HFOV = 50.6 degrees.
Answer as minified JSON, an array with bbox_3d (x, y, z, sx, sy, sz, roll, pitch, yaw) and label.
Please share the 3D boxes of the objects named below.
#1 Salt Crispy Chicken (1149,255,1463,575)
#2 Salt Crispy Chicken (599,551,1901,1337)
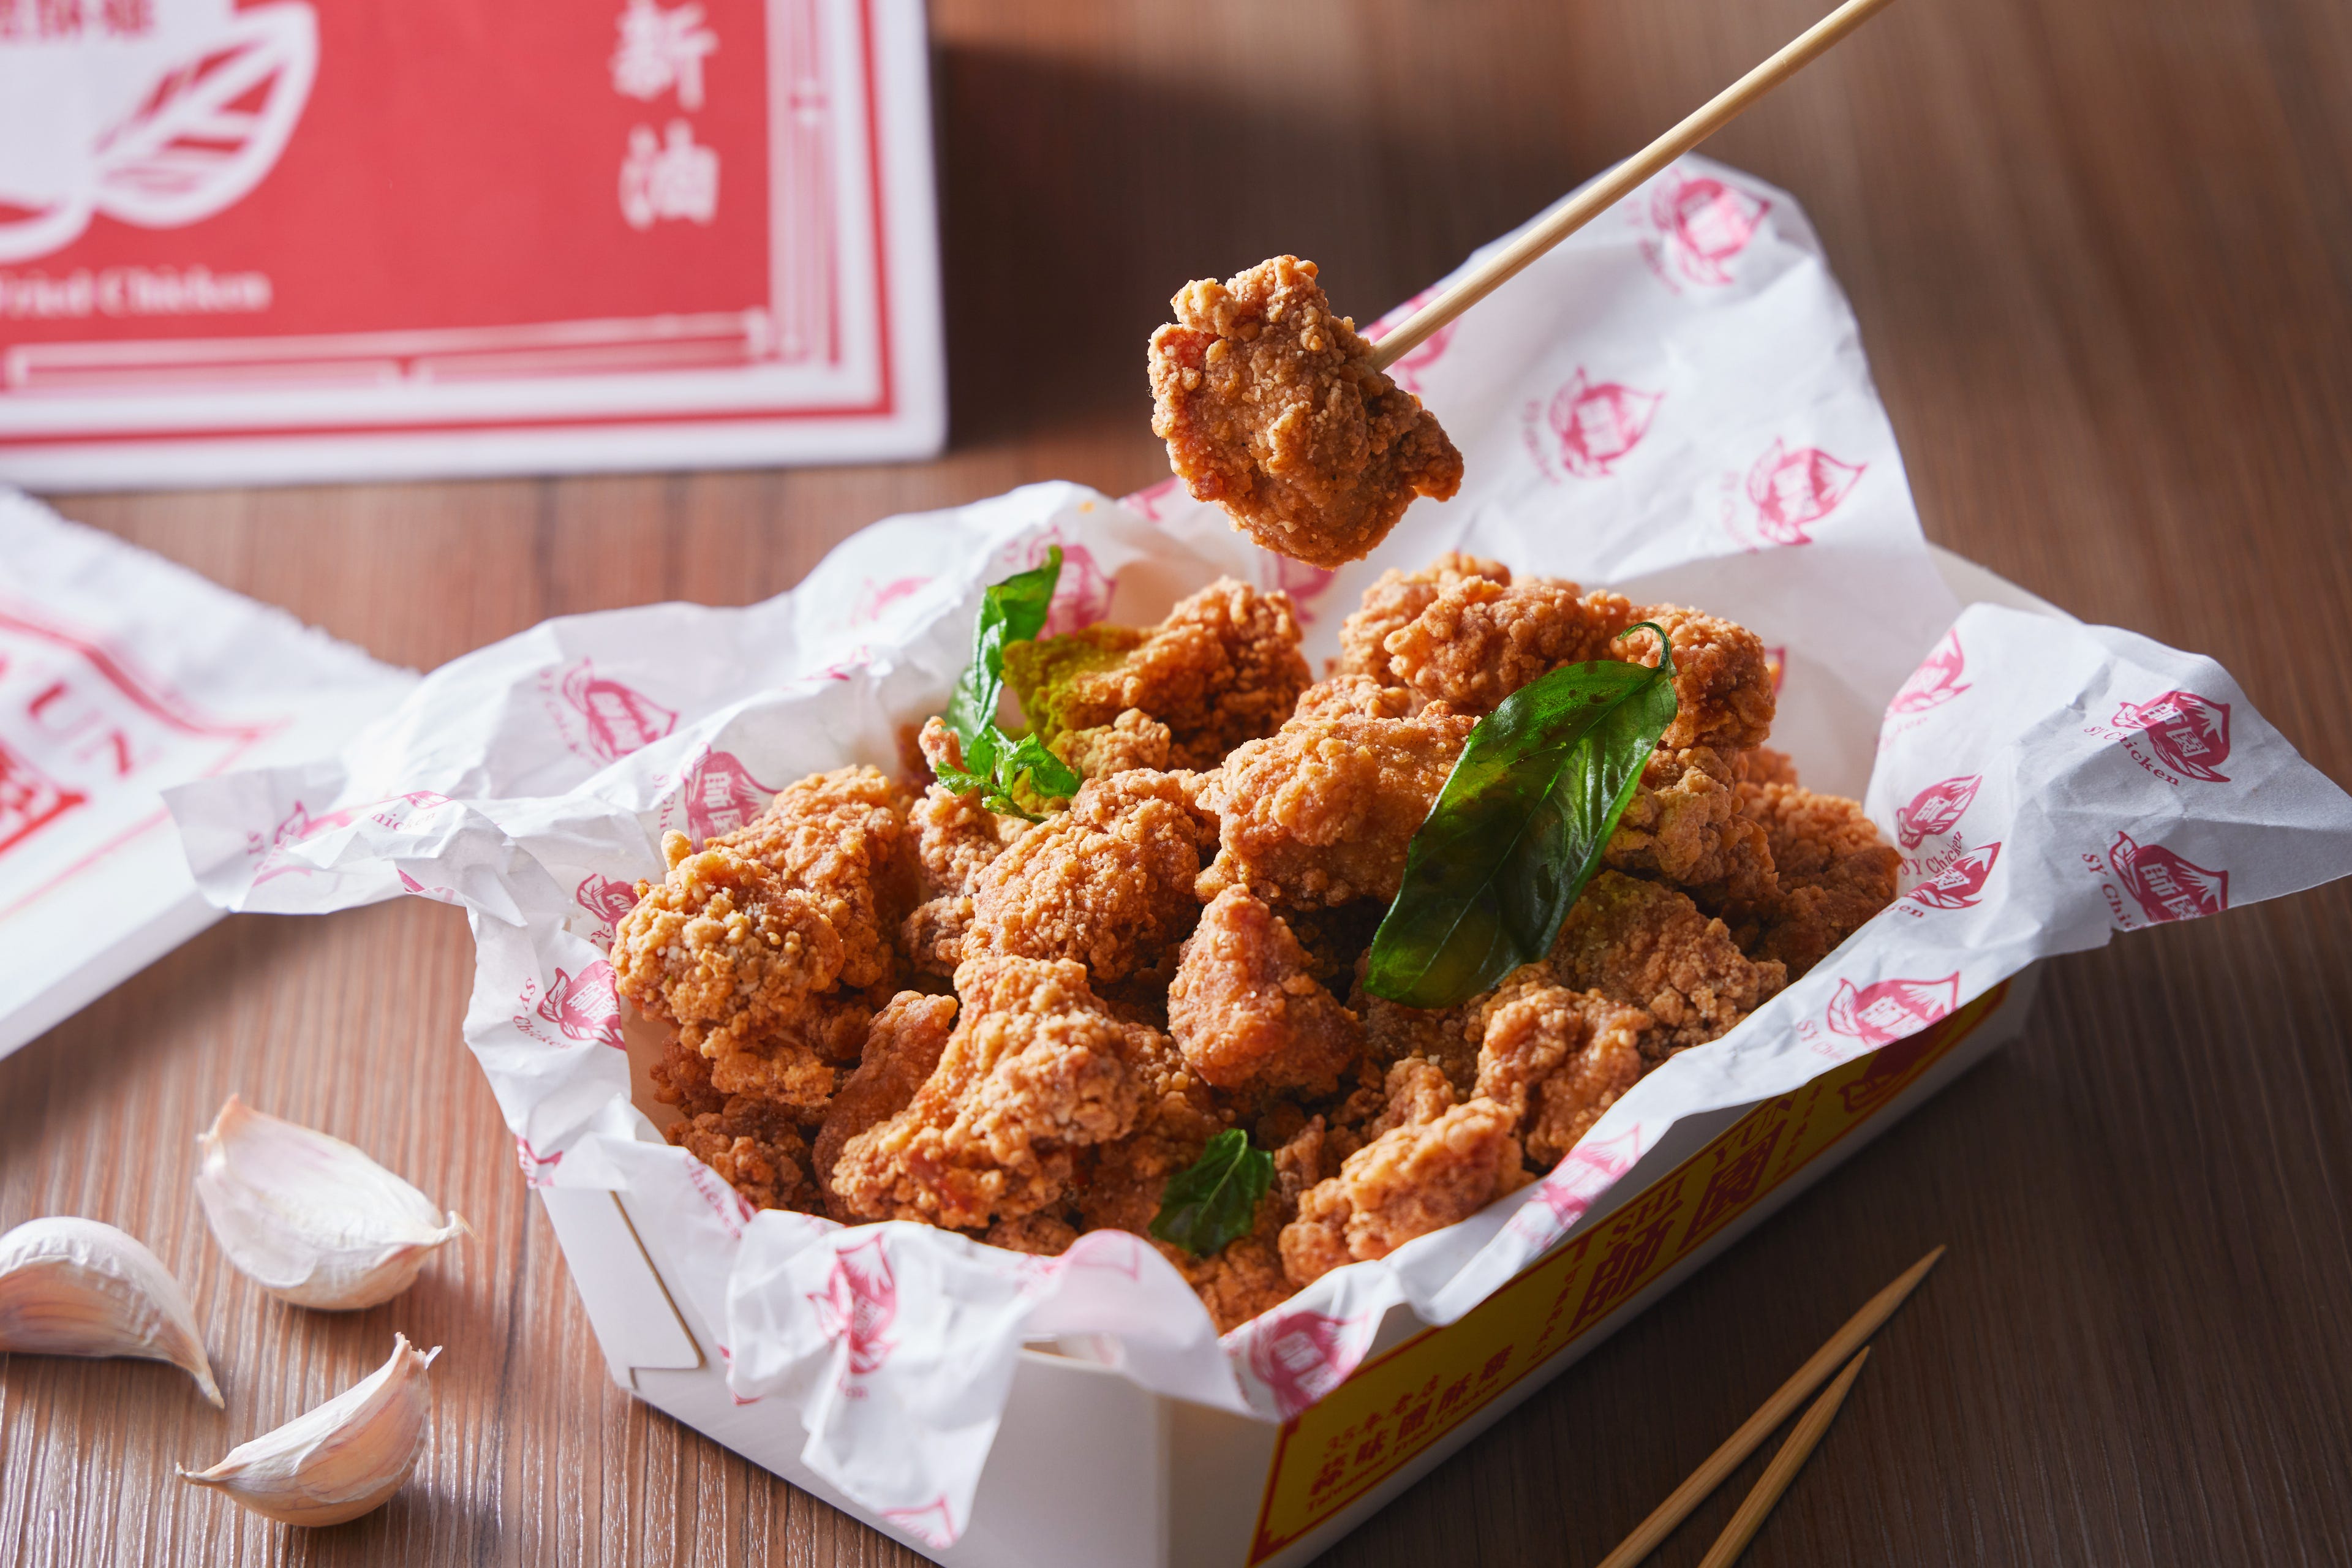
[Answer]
[{"bbox_3d":[0.105,-0.296,2.024,0.261,0.089,0.229,34,62,27],"label":"Salt Crispy Chicken"},{"bbox_3d":[0.042,0.185,2.041,0.826,0.299,0.630,-29,54,-5],"label":"Salt Crispy Chicken"}]
